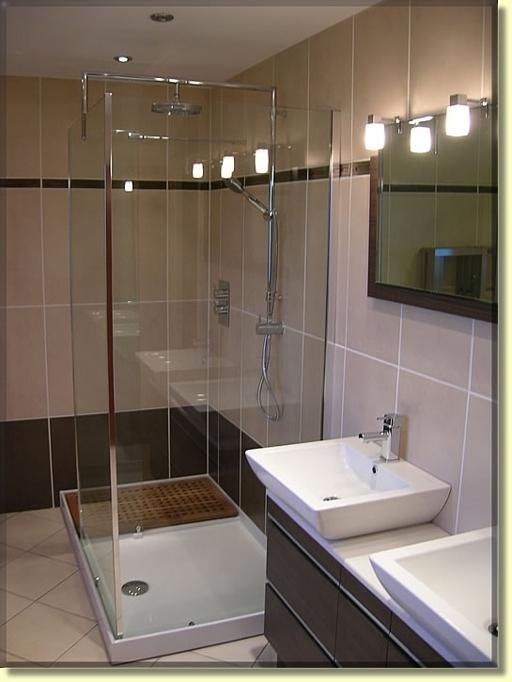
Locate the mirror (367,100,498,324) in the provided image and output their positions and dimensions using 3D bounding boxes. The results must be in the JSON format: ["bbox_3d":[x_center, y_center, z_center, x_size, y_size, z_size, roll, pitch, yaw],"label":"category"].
[{"bbox_3d":[0.555,-0.408,1.648,0.102,0.749,0.537,-4,10,-23],"label":"mirror"}]

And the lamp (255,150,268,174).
[{"bbox_3d":[0.024,-0.733,2.184,0.056,0.155,0.068,0,9,1],"label":"lamp"}]

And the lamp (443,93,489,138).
[{"bbox_3d":[0.570,-0.628,1.490,0.075,0.105,0.145,-4,8,-35],"label":"lamp"}]

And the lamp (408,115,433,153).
[{"bbox_3d":[0.508,-0.622,1.674,0.085,0.159,0.095,1,6,19],"label":"lamp"}]
